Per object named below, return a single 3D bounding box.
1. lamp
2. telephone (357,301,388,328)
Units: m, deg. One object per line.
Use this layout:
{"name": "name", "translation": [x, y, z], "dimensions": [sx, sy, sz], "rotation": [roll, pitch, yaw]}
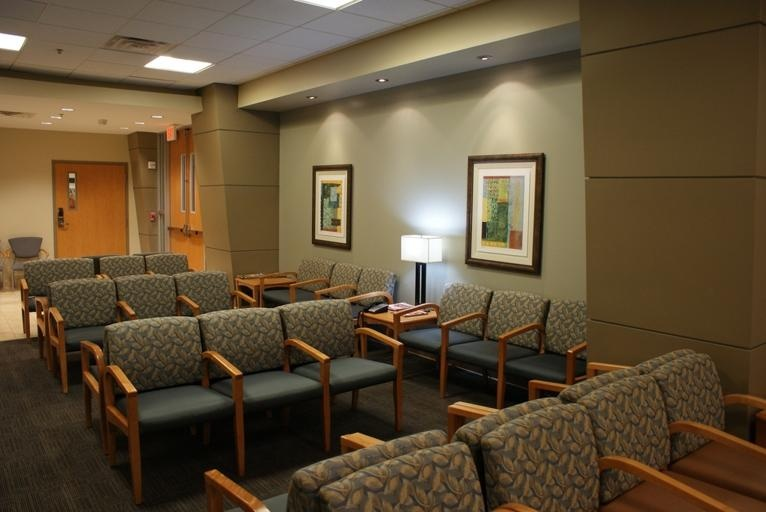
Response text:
{"name": "lamp", "translation": [0.532, 0.381, 7.391], "dimensions": [0.516, 1.330, 0.459], "rotation": [2, 6, 19]}
{"name": "telephone", "translation": [-0.146, 0.800, 7.323], "dimensions": [0.298, 0.187, 0.434], "rotation": [5, 14, 41]}
